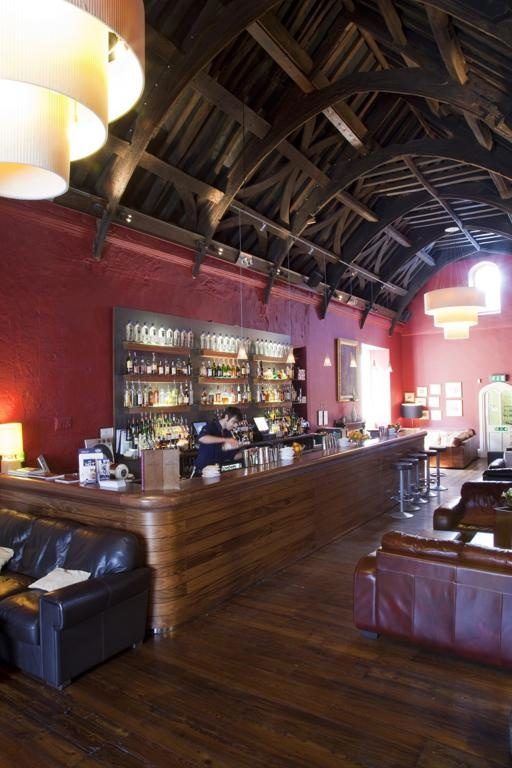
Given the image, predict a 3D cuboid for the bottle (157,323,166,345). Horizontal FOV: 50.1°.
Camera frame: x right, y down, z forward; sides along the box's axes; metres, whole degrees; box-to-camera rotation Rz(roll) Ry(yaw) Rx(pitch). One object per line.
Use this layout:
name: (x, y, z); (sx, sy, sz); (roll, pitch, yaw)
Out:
bottle: (-1.107, -0.561, 6.378); (0.028, 0.205, 0.139); (-1, -2, 23)

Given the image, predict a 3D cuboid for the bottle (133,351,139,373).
bottle: (-1.297, -0.221, 5.930); (0.065, 0.240, 0.238); (-1, -2, -12)

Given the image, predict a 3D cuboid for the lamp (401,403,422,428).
lamp: (4.276, 0.889, 15.089); (0.579, 0.660, 0.872); (-1, -2, 14)

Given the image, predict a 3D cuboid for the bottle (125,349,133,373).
bottle: (-1.349, -0.228, 5.829); (0.078, 0.239, 0.140); (0, -2, -14)

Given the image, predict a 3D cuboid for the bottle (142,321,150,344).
bottle: (-1.238, -0.560, 6.123); (0.055, 0.220, 0.149); (-1, -2, 10)

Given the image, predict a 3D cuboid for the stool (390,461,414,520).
stool: (1.965, 1.441, 7.378); (0.343, 0.714, 0.345); (2, -3, -28)

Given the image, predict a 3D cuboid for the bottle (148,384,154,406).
bottle: (-1.182, 0.137, 6.165); (0.069, 0.214, 0.287); (-1, -2, -12)

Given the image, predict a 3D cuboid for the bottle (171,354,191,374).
bottle: (-0.926, -0.231, 6.636); (0.058, 0.232, 0.235); (-1, -4, 39)

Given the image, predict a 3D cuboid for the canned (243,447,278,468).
canned: (0.041, 0.719, 5.226); (0.155, 0.198, 0.289); (-2, -6, 19)

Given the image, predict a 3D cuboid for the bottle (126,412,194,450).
bottle: (-1.064, 0.534, 6.228); (0.359, 0.412, 1.242); (-1, -2, 17)

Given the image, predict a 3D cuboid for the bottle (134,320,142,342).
bottle: (-1.295, -0.558, 6.000); (0.047, 0.209, 0.158); (-1, -2, 12)

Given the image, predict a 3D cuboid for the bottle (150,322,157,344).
bottle: (-1.176, -0.561, 6.248); (0.049, 0.211, 0.168); (-1, -2, 14)

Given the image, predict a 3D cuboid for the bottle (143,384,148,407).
bottle: (-1.226, 0.127, 6.079); (0.057, 0.244, 0.282); (-1, -2, -11)

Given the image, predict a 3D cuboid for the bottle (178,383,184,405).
bottle: (-0.905, 0.122, 6.633); (0.074, 0.247, 0.140); (-1, -2, -8)

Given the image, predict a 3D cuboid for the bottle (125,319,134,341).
bottle: (-1.361, -0.567, 5.886); (0.031, 0.213, 0.126); (-2, -2, 29)

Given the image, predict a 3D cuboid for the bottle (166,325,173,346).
bottle: (-1.035, -0.557, 6.516); (0.036, 0.198, 0.163); (-1, -2, 8)

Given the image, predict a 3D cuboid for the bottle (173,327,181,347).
bottle: (-0.968, -0.563, 6.642); (0.027, 0.208, 0.115); (-2, -2, 24)

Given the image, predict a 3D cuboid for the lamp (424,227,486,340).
lamp: (2.805, -1.190, 7.874); (0.908, 0.748, 0.920); (-2, 1, 16)

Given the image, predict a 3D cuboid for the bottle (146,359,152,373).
bottle: (-1.186, -0.178, 6.110); (0.084, 0.151, 0.308); (-1, -2, -11)

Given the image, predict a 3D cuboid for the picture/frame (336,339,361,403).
picture/frame: (1.899, -0.243, 11.384); (0.100, 1.394, 1.303); (-1, -4, 23)

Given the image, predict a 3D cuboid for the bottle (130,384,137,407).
bottle: (-1.331, 0.118, 5.989); (0.056, 0.239, 0.130); (-2, -2, 25)

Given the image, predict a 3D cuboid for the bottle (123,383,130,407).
bottle: (-1.383, 0.119, 5.861); (0.055, 0.260, 0.183); (0, -2, -13)

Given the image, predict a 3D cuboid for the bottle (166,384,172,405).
bottle: (-1.029, 0.132, 6.466); (0.066, 0.215, 0.190); (-1, -2, -10)

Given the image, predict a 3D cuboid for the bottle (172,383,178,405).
bottle: (-0.969, 0.134, 6.565); (0.070, 0.218, 0.162); (-1, -2, -7)

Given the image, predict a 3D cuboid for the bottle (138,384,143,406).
bottle: (-1.280, 0.126, 6.021); (0.059, 0.241, 0.198); (-1, -2, -13)
